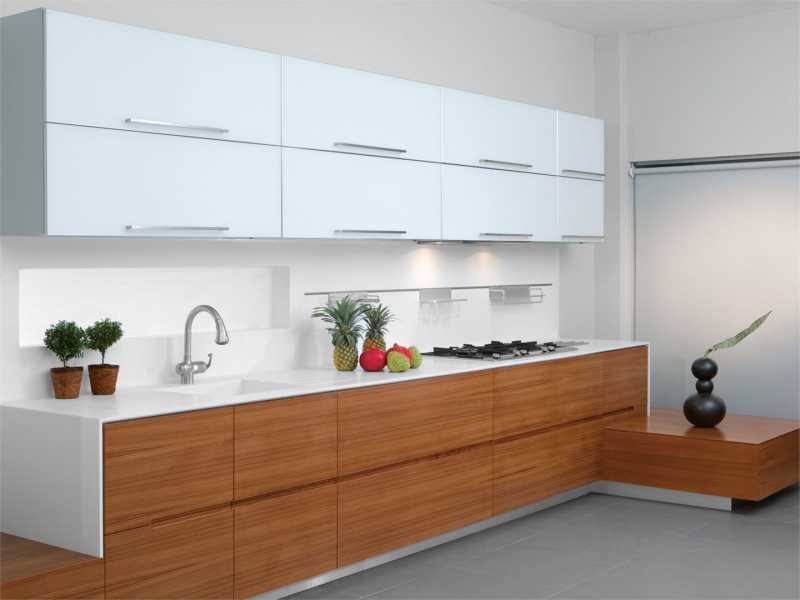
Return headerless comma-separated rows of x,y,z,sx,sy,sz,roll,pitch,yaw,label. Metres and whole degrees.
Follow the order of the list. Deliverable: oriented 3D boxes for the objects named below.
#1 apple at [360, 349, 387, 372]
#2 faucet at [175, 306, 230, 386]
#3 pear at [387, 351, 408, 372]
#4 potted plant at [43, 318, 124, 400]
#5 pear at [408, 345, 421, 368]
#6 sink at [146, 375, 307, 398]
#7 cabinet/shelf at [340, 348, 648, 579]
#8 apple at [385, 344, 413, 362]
-0.151,0.342,3.401,0.147,0.118,0.148,4,1,26,apple
-0.968,0.251,2.970,0.320,0.393,0.209,-4,-4,29,faucet
-0.012,0.354,3.366,0.121,0.117,0.084,0,-2,-20,pear
-1.454,0.262,2.676,0.312,0.343,0.229,0,-2,-23,potted plant
0.075,0.350,3.590,0.096,0.109,0.049,12,-27,-42,pear
-0.876,0.416,2.911,0.390,0.105,0.437,-1,1,-43,sink
0.228,0.878,3.950,2.465,0.858,0.664,0,6,-44,cabinet/shelf
0.001,0.314,3.478,0.123,0.102,0.112,-2,-9,-10,apple
